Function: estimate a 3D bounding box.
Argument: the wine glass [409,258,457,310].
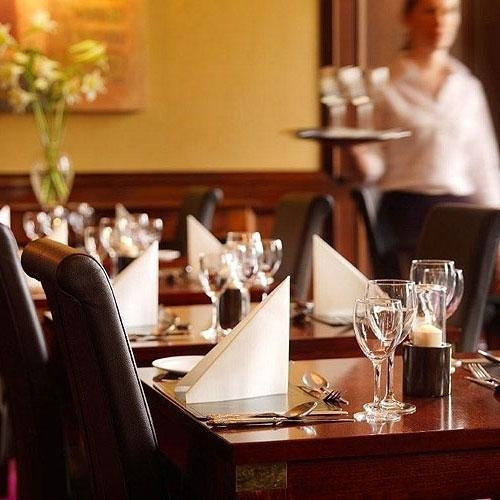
[{"bbox_3d":[0.345,0.066,1.179,0.073,0.103,0.082,1,-4,-3],"label":"wine glass"}]

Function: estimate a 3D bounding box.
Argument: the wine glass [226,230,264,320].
[{"bbox_3d":[-0.018,0.076,1.525,0.094,0.283,0.094,15,23,32],"label":"wine glass"}]

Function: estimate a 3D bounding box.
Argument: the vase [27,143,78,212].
[{"bbox_3d":[-0.634,-0.236,1.979,0.123,0.247,0.151,1,14,-9],"label":"vase"}]

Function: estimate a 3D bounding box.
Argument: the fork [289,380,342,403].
[{"bbox_3d":[0.101,0.213,0.930,0.020,0.021,0.158,-4,-6,-22],"label":"fork"}]
